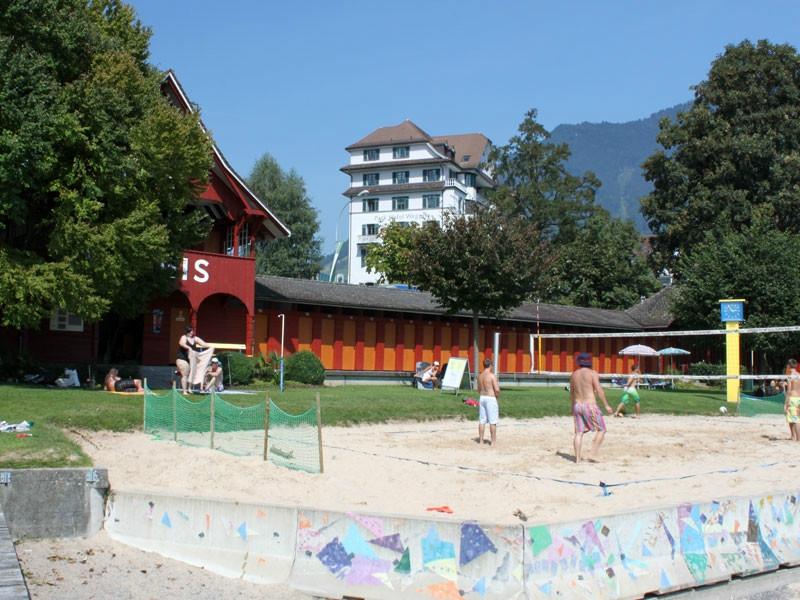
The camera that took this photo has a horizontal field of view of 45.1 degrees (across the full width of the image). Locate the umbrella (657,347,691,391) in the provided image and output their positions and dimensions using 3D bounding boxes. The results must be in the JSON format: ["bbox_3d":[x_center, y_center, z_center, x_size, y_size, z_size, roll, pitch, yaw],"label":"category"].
[{"bbox_3d":[13.342,3.272,46.907,1.675,2.100,1.783,-3,6,-16],"label":"umbrella"}]

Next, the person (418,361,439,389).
[{"bbox_3d":[1.126,2.937,36.096,0.626,0.935,0.343,16,-19,21],"label":"person"}]

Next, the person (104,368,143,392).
[{"bbox_3d":[-8.323,2.354,28.153,1.429,0.987,0.570,1,-1,-6],"label":"person"}]

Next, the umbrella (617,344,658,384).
[{"bbox_3d":[11.316,3.063,45.805,1.426,1.907,1.588,2,3,7],"label":"umbrella"}]
